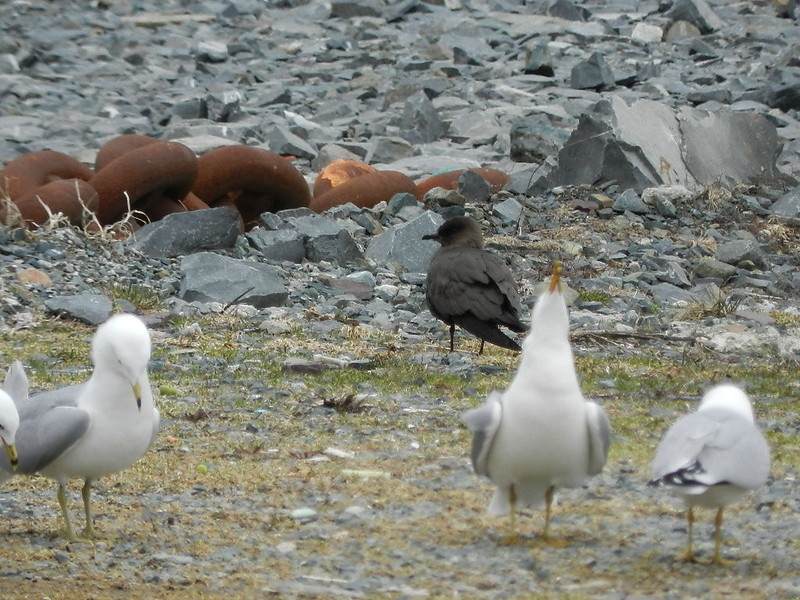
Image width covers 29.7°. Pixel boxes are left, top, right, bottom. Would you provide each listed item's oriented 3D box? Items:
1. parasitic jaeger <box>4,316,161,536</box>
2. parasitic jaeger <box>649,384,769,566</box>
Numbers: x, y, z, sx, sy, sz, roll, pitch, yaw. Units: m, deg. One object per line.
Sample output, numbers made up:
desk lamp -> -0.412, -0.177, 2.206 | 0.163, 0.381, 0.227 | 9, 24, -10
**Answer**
parasitic jaeger -> -3.306, 1.337, 15.973 | 1.482, 2.363, 0.575 | 1, 4, -8
parasitic jaeger -> 3.216, 1.860, 15.747 | 1.176, 1.818, 0.657 | 2, 4, 6
